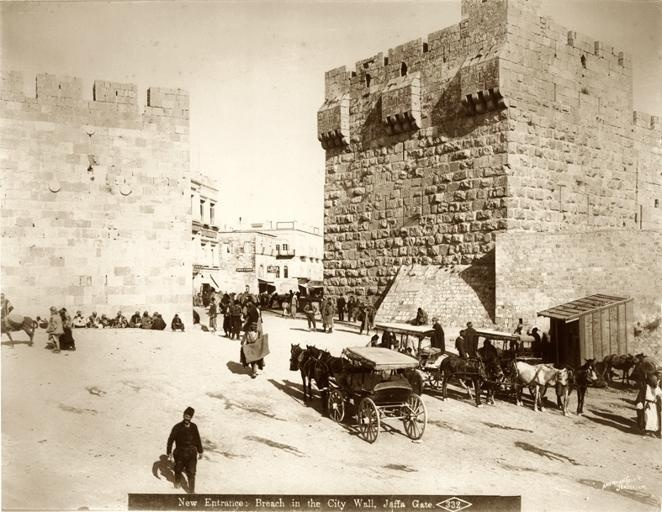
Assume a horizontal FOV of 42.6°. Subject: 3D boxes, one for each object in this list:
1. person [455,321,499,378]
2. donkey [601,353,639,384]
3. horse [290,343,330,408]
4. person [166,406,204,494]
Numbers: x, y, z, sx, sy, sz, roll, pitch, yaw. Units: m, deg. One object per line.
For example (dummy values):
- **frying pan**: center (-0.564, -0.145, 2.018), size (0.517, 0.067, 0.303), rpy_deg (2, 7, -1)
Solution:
- **person**: center (3.836, 2.477, 22.313), size (0.560, 1.288, 2.238), rpy_deg (0, -1, -5)
- **donkey**: center (7.774, 3.040, 23.047), size (0.960, 0.851, 0.769), rpy_deg (3, -4, 18)
- **horse**: center (-0.475, 2.892, 21.403), size (0.495, 1.220, 1.601), rpy_deg (-3, 2, -40)
- **person**: center (-3.259, 4.344, 18.951), size (0.770, 2.022, 0.930), rpy_deg (4, -3, -9)
